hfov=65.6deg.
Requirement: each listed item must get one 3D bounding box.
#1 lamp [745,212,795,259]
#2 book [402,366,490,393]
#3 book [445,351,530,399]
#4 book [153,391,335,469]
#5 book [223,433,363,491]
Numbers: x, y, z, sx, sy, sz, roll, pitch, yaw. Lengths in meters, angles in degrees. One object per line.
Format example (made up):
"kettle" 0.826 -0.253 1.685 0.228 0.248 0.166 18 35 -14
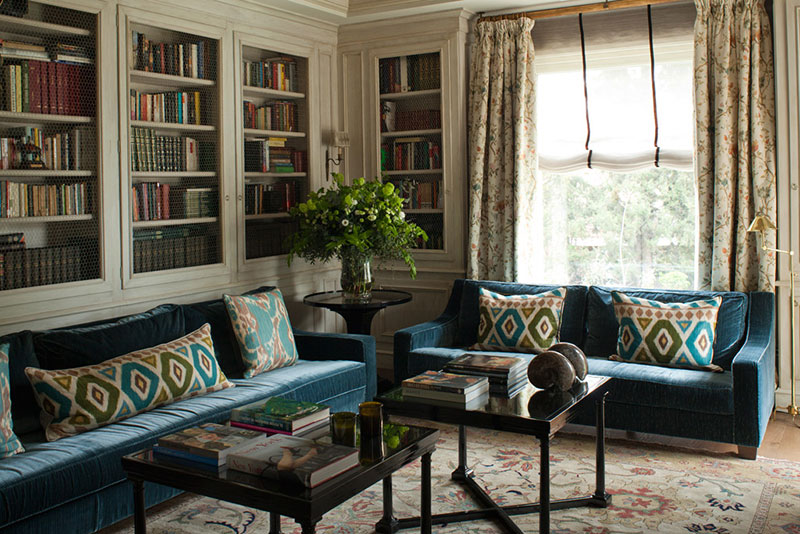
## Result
"lamp" 2.783 -0.223 4.651 0.320 0.360 0.433 5 11 30
"book" 0.284 0.660 3.606 0.356 0.062 0.319 -1 0 34
"book" 0.522 0.630 3.674 0.288 0.083 0.280 4 10 39
"book" -0.718 0.766 2.906 0.349 0.069 0.545 3 7 42
"book" -0.453 0.845 2.706 0.461 0.074 0.464 4 -1 35
